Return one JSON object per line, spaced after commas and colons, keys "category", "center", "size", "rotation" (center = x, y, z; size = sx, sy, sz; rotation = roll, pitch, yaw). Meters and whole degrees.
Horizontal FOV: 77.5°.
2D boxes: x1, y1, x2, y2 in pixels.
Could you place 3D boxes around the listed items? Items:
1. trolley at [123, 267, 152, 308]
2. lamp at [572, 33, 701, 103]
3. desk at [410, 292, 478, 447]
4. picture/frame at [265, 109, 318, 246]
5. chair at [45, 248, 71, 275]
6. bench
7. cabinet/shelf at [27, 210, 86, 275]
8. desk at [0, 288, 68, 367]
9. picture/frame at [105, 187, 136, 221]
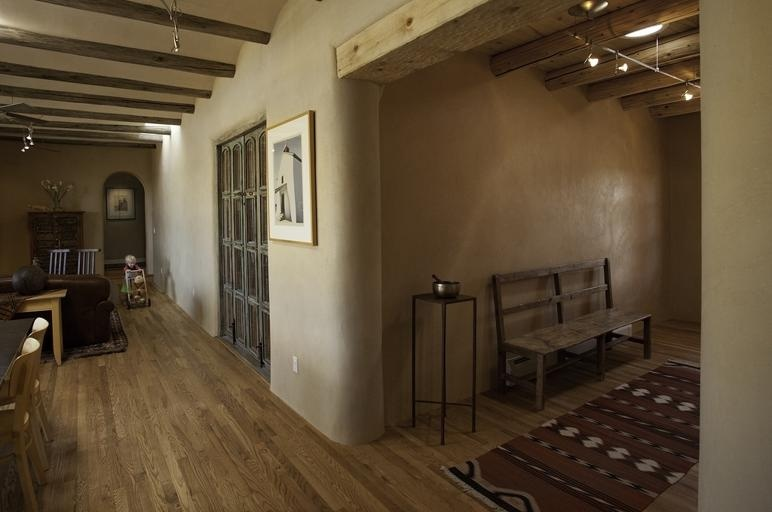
{"category": "trolley", "center": [-4.672, 0.607, 8.989], "size": [0.547, 0.668, 0.563], "rotation": [-8, -5, -6]}
{"category": "lamp", "center": [2.863, -2.059, 5.474], "size": [1.147, 0.362, 1.747], "rotation": [0, 6, 29]}
{"category": "desk", "center": [0.522, 0.997, 4.412], "size": [0.493, 1.239, 0.513], "rotation": [-3, -7, 40]}
{"category": "picture/frame", "center": [-0.892, -0.700, 4.567], "size": [0.095, 1.184, 0.795], "rotation": [-7, 7, -40]}
{"category": "chair", "center": [-6.398, 0.100, 9.343], "size": [0.321, 0.462, 0.477], "rotation": [3, 3, 20]}
{"category": "bench", "center": [2.115, 0.719, 5.318], "size": [2.029, 1.224, 0.730], "rotation": [-7, 9, -30]}
{"category": "cabinet/shelf", "center": [-7.045, -0.275, 10.343], "size": [1.018, 0.595, 1.752], "rotation": [-7, 29, -32]}
{"category": "desk", "center": [-4.022, 0.807, 5.653], "size": [0.785, 0.743, 0.799], "rotation": [-1, -2, 4]}
{"category": "picture/frame", "center": [-6.987, -1.378, 12.560], "size": [0.888, 1.096, 0.068], "rotation": [-1, 6, -44]}
